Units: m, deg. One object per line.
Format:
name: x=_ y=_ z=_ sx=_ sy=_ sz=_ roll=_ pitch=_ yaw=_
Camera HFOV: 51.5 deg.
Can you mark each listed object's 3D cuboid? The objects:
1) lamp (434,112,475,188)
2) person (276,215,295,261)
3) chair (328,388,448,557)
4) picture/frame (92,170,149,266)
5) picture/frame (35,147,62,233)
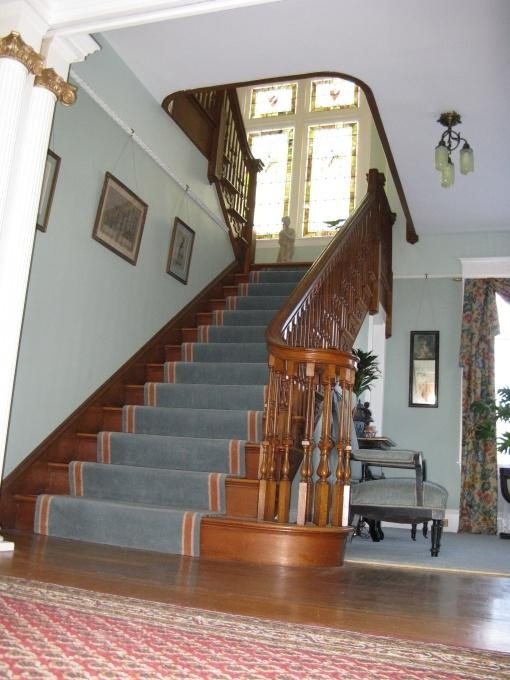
lamp: x=1.609 y=-1.601 z=4.296 sx=0.277 sy=0.483 sz=0.261 roll=-1 pitch=-9 yaw=27
person: x=0.467 y=-1.455 z=7.742 sx=0.240 sy=0.793 sz=0.424 roll=5 pitch=-10 yaw=2
chair: x=0.999 y=0.937 z=3.673 sx=0.911 sy=1.039 sz=0.909 roll=8 pitch=-13 yaw=-27
picture/frame: x=-1.080 y=-0.972 z=4.186 sx=0.049 sy=0.635 sz=0.755 roll=4 pitch=-15 yaw=19
picture/frame: x=-1.324 y=-0.968 z=3.391 sx=0.050 sy=0.569 sz=0.247 roll=6 pitch=-10 yaw=-9
